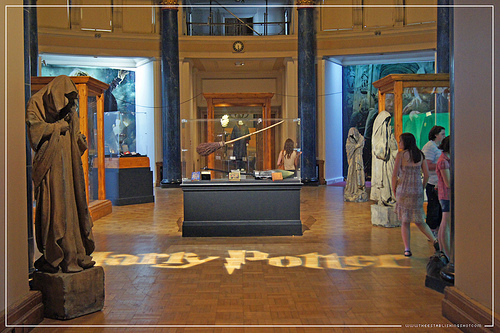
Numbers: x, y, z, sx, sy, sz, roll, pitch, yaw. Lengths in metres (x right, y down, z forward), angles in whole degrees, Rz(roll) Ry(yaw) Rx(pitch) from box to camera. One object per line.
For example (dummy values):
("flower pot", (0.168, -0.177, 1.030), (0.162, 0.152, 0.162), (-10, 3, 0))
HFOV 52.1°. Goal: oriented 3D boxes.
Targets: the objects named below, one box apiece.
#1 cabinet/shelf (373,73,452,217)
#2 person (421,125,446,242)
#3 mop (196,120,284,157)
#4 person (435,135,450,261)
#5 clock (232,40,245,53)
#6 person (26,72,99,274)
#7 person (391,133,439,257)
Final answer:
("cabinet/shelf", (2.823, -0.384, 8.914), (0.935, 2.925, 1.294), (0, 0, -3))
("person", (3.126, 0.238, 8.451), (0.409, 1.745, 0.594), (3, 10, 16))
("mop", (-0.329, -0.449, 8.891), (1.357, 0.230, 0.336), (-19, 22, 20))
("person", (2.793, 0.431, 7.341), (0.227, 1.793, 0.362), (2, 8, 21))
("clock", (-0.387, -3.999, 16.921), (0.377, 0.378, 0.137), (-2, 7, -7))
("person", (-2.256, 0.086, 6.055), (0.659, 2.281, 0.490), (-4, 8, -25))
("person", (2.442, 0.419, 7.715), (0.580, 1.838, 0.415), (2, 8, 17))
